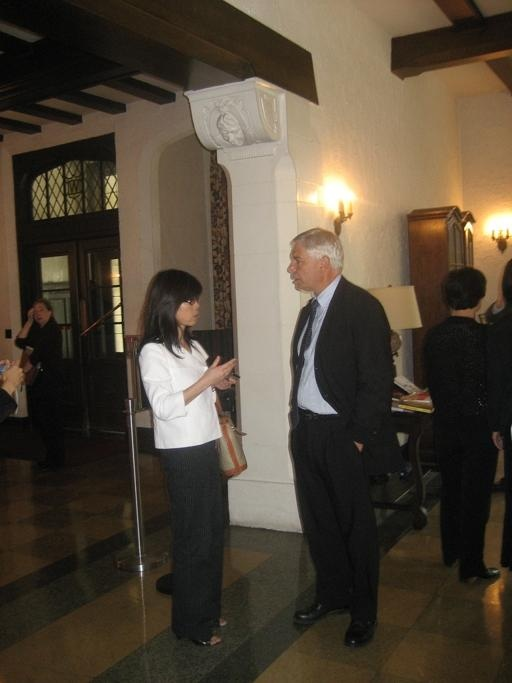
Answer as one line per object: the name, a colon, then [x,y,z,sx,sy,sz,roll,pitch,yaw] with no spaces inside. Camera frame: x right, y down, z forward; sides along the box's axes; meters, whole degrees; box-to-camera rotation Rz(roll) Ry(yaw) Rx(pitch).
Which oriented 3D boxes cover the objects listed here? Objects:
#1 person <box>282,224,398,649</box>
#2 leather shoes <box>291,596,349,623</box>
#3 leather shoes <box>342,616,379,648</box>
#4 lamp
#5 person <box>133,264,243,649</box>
person: [0.322,0.376,2.304,0.328,1.621,0.401,-10,8,-31]
leather shoes: [0.262,1.139,2.541,0.254,0.099,0.081,3,-3,-20]
leather shoes: [0.393,1.113,2.258,0.060,0.057,0.143,-2,-8,28]
lamp: [1.045,-0.044,4.600,0.444,0.774,0.425,1,2,-3]
person: [-0.228,0.459,2.320,0.361,1.488,0.429,-6,7,-4]
